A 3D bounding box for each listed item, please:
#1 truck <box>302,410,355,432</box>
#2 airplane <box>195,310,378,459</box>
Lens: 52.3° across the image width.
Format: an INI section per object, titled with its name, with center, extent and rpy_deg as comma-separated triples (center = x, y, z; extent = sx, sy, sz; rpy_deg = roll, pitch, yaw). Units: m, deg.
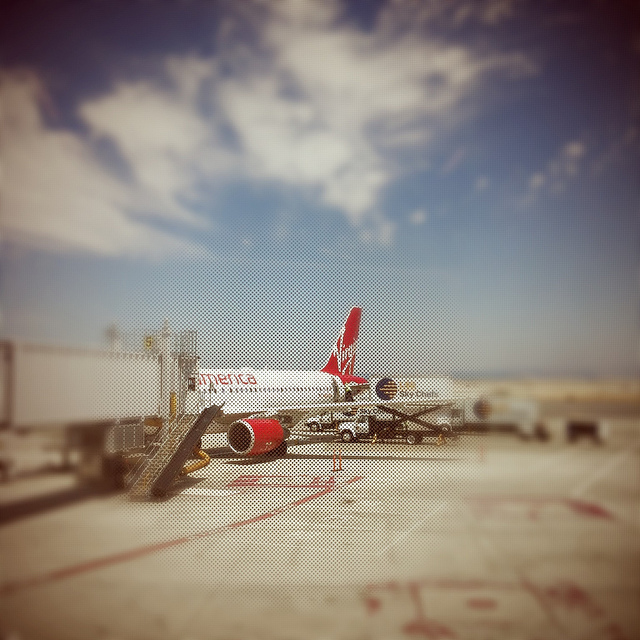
[truck]
center = 0.215, 5.328, 34.715
extent = 2.682, 1.260, 1.719
rpy_deg = 1, -8, 6
[airplane]
center = -1.309, 3.381, 28.972
extent = 6.798, 3.463, 8.181
rpy_deg = -3, -2, 35
